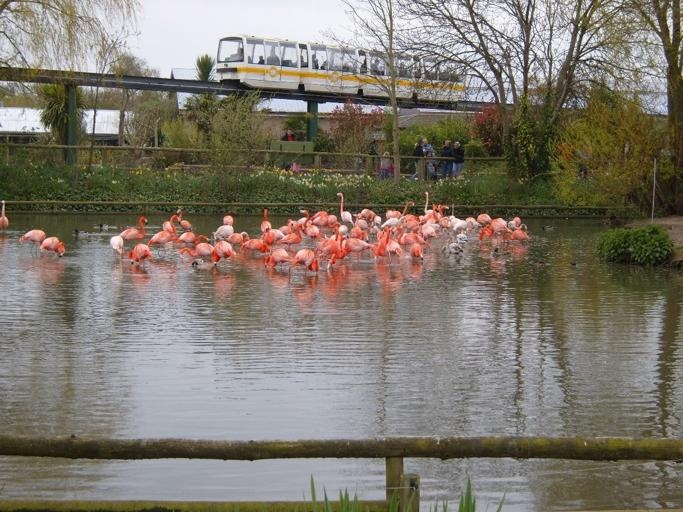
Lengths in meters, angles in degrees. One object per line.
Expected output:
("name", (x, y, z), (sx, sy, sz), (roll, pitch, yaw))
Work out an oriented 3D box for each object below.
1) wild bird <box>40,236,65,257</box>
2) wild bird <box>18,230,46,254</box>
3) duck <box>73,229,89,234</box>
("wild bird", (-6.775, -0.270, 30.635), (0.591, 0.541, 0.938), (-2, 14, -14))
("wild bird", (-7.438, -0.361, 31.467), (0.484, 0.827, 0.971), (6, -4, -10))
("duck", (-6.894, -0.674, 34.548), (0.223, 0.158, 0.472), (0, 3, 2))
